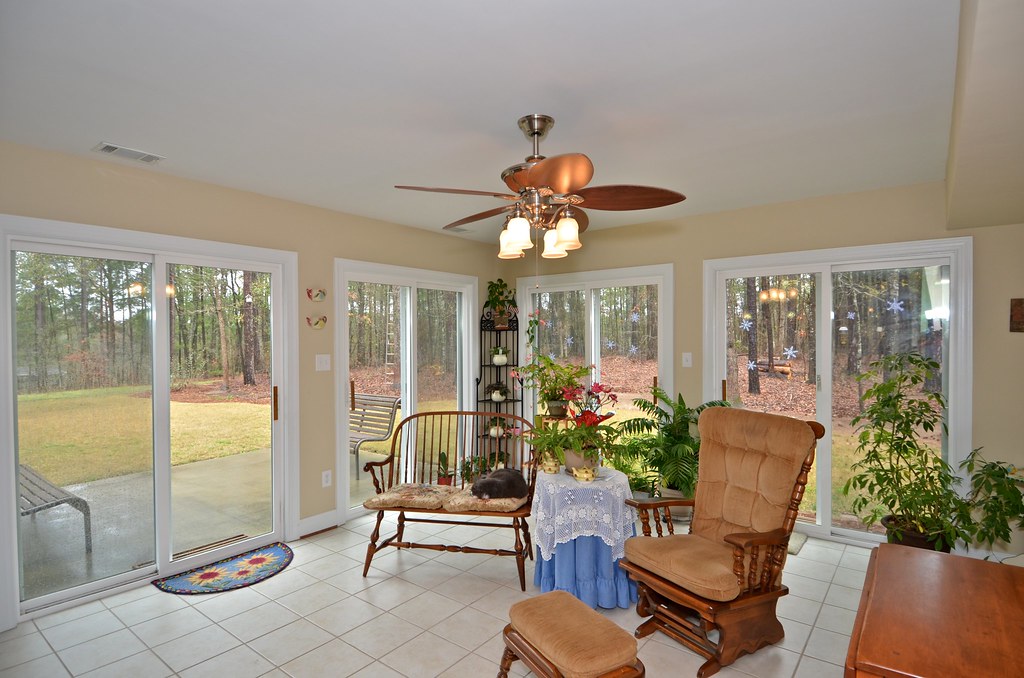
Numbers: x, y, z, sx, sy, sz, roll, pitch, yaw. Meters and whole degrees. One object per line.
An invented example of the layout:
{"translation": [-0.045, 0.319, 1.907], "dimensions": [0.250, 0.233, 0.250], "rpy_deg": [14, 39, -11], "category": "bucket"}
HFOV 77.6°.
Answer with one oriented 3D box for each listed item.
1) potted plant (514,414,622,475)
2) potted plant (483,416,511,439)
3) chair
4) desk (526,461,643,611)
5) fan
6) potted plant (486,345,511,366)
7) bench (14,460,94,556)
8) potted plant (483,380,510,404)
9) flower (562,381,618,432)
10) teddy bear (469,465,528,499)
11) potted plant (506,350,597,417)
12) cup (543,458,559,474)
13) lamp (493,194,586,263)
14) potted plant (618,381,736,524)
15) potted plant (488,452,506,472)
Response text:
{"translation": [0.487, 0.832, 4.976], "dimensions": [0.740, 0.335, 0.695], "rpy_deg": [3, -3, 8], "category": "potted plant"}
{"translation": [-0.185, 1.009, 7.134], "dimensions": [0.384, 0.242, 0.343], "rpy_deg": [11, -13, -44], "category": "potted plant"}
{"translation": [1.449, 1.345, 4.355], "dimensions": [1.287, 1.180, 0.765], "rpy_deg": [-2, 0, 8], "category": "chair"}
{"translation": [0.352, 1.500, 4.961], "dimensions": [0.922, 0.862, 0.936], "rpy_deg": [1, -4, -17], "category": "desk"}
{"translation": [0.109, -1.021, 3.976], "dimensions": [1.800, 0.589, 1.720], "rpy_deg": [-1, 1, -13], "category": "fan"}
{"translation": [-0.157, 0.199, 7.334], "dimensions": [0.225, 0.211, 0.218], "rpy_deg": [-1, -10, 8], "category": "potted plant"}
{"translation": [-3.469, 1.352, 4.776], "dimensions": [0.490, 0.348, 0.439], "rpy_deg": [-24, -13, -14], "category": "bench"}
{"translation": [-0.179, 0.620, 7.360], "dimensions": [0.264, 0.168, 0.254], "rpy_deg": [-1, -8, 8], "category": "potted plant"}
{"translation": [0.617, 0.532, 5.131], "dimensions": [0.550, 0.499, 0.462], "rpy_deg": [0, -9, 7], "category": "flower"}
{"translation": [-0.102, 1.193, 5.194], "dimensions": [0.484, 0.186, 0.389], "rpy_deg": [-1, -1, -21], "category": "teddy bear"}
{"translation": [0.397, 0.458, 5.426], "dimensions": [0.579, 0.391, 0.628], "rpy_deg": [1, 7, -43], "category": "potted plant"}
{"translation": [0.295, 0.976, 4.874], "dimensions": [0.128, 0.097, 0.121], "rpy_deg": [1, -10, 0], "category": "cup"}
{"translation": [0.174, -0.750, 4.202], "dimensions": [0.656, 0.349, 0.638], "rpy_deg": [4, 11, 34], "category": "lamp"}
{"translation": [1.598, 1.111, 6.138], "dimensions": [0.934, 0.997, 1.100], "rpy_deg": [-14, -1, 36], "category": "potted plant"}
{"translation": [-0.163, 1.374, 7.176], "dimensions": [0.308, 0.266, 0.293], "rpy_deg": [2, -10, -3], "category": "potted plant"}
